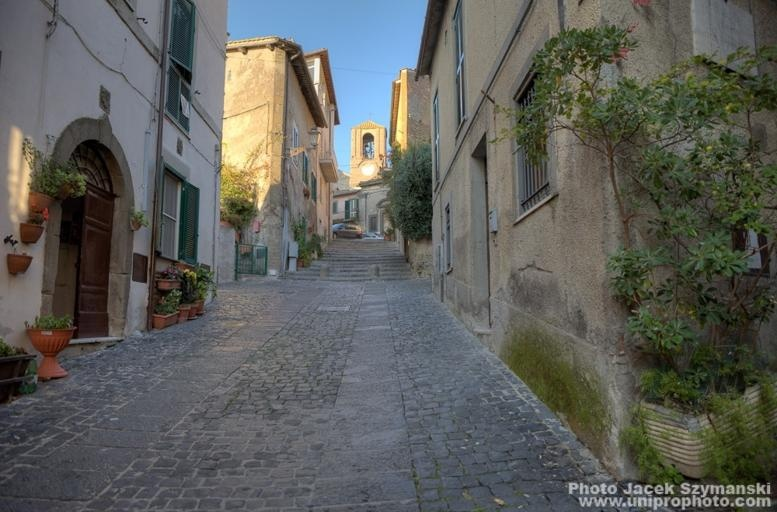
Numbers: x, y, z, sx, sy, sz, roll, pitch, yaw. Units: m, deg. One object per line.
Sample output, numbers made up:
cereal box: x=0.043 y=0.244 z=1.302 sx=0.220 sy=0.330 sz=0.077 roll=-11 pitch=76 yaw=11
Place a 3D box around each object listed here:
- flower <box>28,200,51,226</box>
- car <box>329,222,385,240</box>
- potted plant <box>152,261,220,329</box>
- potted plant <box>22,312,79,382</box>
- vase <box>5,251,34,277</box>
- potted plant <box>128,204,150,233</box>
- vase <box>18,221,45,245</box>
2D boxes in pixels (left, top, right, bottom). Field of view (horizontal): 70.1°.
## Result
flower: x=-4.328 y=-0.514 z=6.862 sx=0.200 sy=0.252 sz=0.215 roll=2 pitch=5 yaw=-23
car: x=-2.172 y=-1.403 z=37.544 sx=3.662 sy=1.350 sz=1.679 roll=0 pitch=5 yaw=-6
potted plant: x=-3.805 y=0.746 z=10.218 sx=0.826 sy=1.115 sz=2.636 roll=0 pitch=-5 yaw=-1
potted plant: x=-4.324 y=1.138 z=7.174 sx=0.623 sy=0.916 sz=0.711 roll=0 pitch=4 yaw=-4
vase: x=-4.405 y=0.090 z=6.590 sx=0.224 sy=0.231 sz=0.242 roll=2 pitch=1 yaw=-19
potted plant: x=-4.040 y=-0.578 z=9.056 sx=0.308 sy=0.352 sz=0.314 roll=3 pitch=5 yaw=22
vase: x=-4.382 y=-0.283 z=6.760 sx=0.222 sy=0.212 sz=0.240 roll=4 pitch=9 yaw=9
